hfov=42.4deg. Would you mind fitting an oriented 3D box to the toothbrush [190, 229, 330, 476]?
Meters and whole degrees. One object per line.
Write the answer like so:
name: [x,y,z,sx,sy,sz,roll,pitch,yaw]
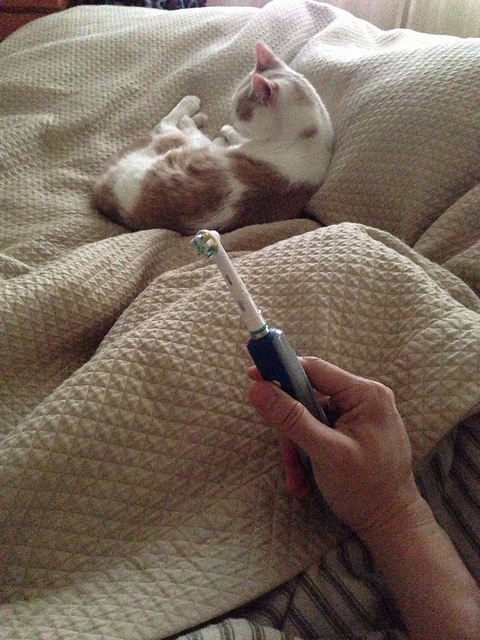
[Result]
toothbrush: [0.027,0.054,0.800,0.063,0.056,0.377,-36,104,-13]
